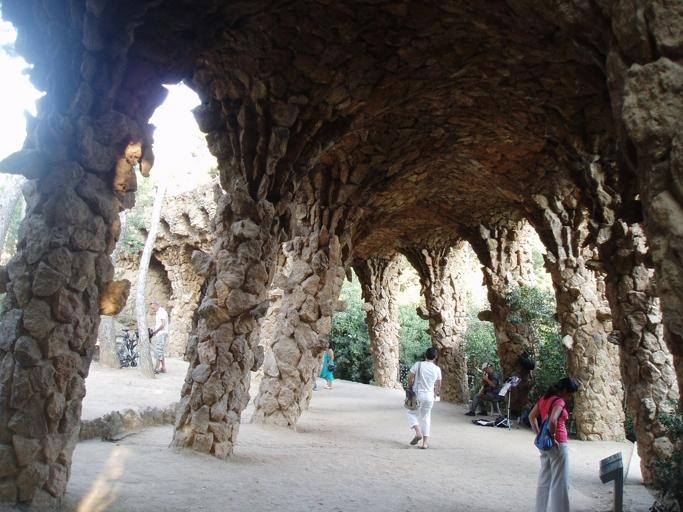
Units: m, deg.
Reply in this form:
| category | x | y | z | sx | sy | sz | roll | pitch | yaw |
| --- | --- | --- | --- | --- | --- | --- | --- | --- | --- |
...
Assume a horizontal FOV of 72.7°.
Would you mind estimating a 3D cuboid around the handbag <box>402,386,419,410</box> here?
| category | x | y | z | sx | sy | sz | roll | pitch | yaw |
| --- | --- | --- | --- | --- | --- | --- | --- | --- | --- |
| handbag | 1.130 | 2.316 | 7.512 | 0.208 | 0.361 | 0.256 | 6 | -7 | 12 |

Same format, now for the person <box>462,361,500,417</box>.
| category | x | y | z | sx | sy | sz | roll | pitch | yaw |
| --- | --- | --- | --- | --- | --- | --- | --- | --- | --- |
| person | 3.617 | 3.414 | 11.824 | 0.696 | 1.320 | 1.247 | 5 | -8 | 17 |

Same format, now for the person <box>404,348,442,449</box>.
| category | x | y | z | sx | sy | sz | roll | pitch | yaw |
| --- | --- | --- | --- | --- | --- | --- | --- | --- | --- |
| person | 1.327 | 2.406 | 7.655 | 0.512 | 1.450 | 0.662 | 5 | -8 | 18 |
